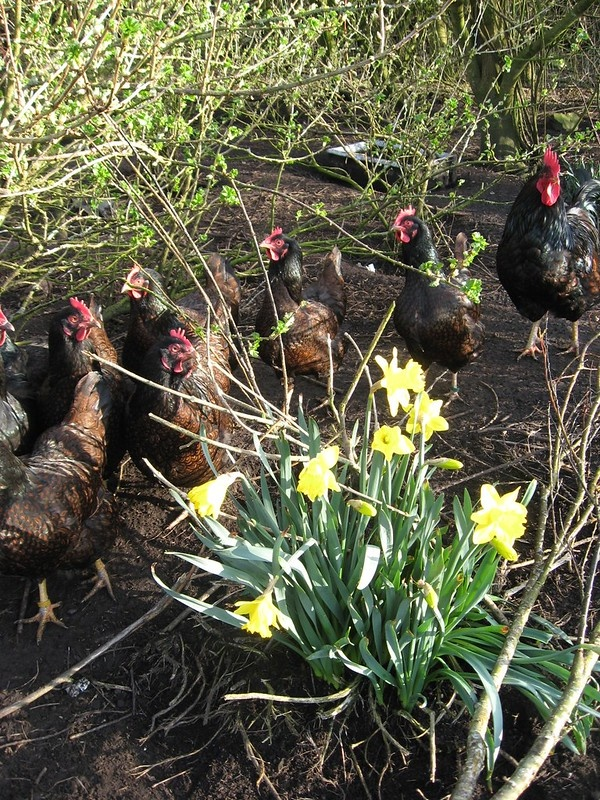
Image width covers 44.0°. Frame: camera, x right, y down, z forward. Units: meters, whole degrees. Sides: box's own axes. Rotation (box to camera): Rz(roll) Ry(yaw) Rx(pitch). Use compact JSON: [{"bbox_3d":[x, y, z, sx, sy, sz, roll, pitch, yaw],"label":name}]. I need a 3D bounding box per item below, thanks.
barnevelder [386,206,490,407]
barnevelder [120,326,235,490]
[{"bbox_3d":[0.770,-0.548,4.235,0.533,1.036,0.906,5,13,32],"label":"barnevelder"},{"bbox_3d":[-0.572,0.039,3.534,0.550,0.832,0.658,-4,32,-13],"label":"barnevelder"}]
